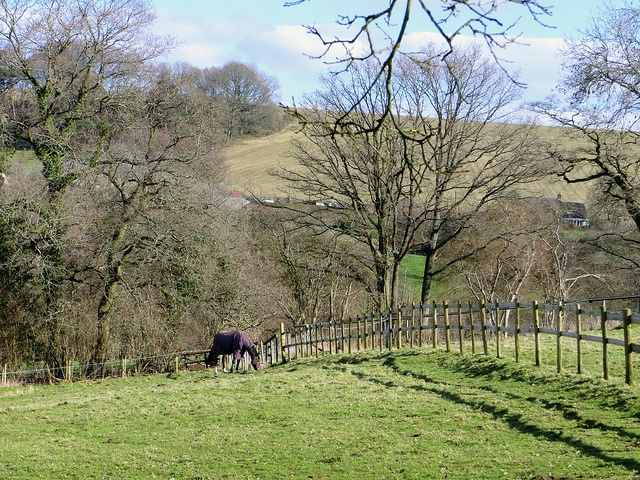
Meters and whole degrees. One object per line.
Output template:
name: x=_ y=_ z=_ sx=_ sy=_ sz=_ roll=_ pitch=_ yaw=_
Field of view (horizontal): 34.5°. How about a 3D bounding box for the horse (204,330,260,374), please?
horse: x=-4.335 y=5.633 z=50.853 sx=3.089 sy=2.257 sz=0.853 roll=-3 pitch=-8 yaw=28
